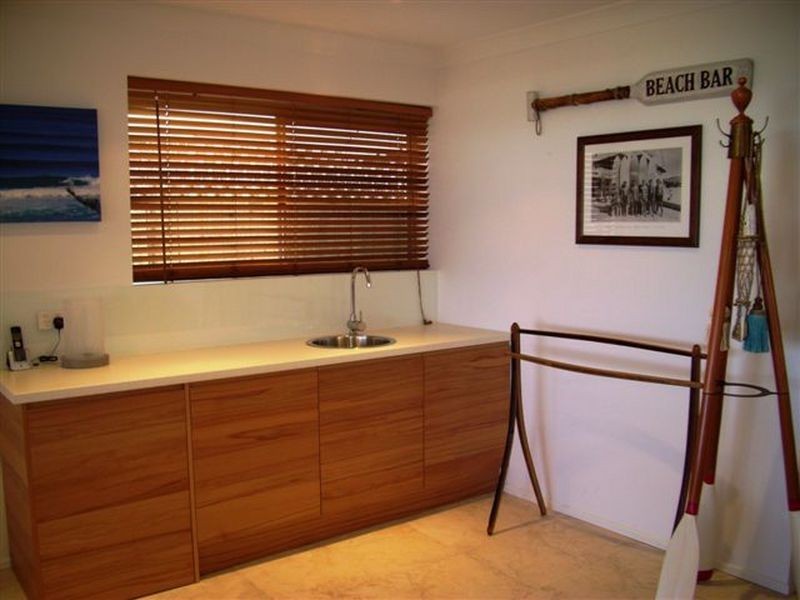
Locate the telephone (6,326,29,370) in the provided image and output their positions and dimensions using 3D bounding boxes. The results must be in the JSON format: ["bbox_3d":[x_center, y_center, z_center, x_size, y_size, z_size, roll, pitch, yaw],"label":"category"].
[{"bbox_3d":[-1.932,0.234,2.984,0.081,0.205,0.148,-5,9,-34],"label":"telephone"}]

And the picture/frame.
[{"bbox_3d":[1.331,-0.627,3.247,0.027,0.652,0.670,-3,8,-42],"label":"picture/frame"}]
